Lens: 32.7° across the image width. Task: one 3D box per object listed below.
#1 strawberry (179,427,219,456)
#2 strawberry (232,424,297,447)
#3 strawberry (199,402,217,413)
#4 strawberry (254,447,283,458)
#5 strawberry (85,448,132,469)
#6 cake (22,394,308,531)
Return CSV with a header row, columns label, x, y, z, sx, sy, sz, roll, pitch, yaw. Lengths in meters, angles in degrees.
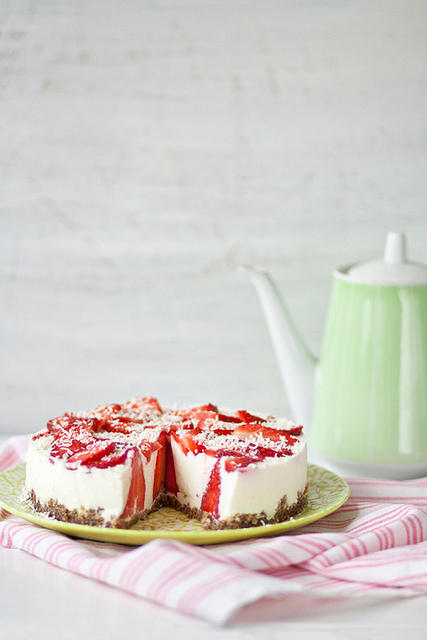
label,x,y,z,sx,sy,sz,roll,pitch,yaw
strawberry,-0.019,0.149,0.892,0.046,0.029,0.079,0,-6,7
strawberry,0.063,0.142,0.901,0.081,0.023,0.045,0,-6,6
strawberry,-0.009,0.127,1.058,0.036,0.020,0.032,1,-6,-1
strawberry,0.066,0.154,0.851,0.029,0.009,0.021,0,-6,1
strawberry,-0.114,0.155,0.816,0.027,0.020,0.053,-4,-7,41
cake,-0.061,0.170,0.925,0.361,0.146,0.283,0,-6,6
